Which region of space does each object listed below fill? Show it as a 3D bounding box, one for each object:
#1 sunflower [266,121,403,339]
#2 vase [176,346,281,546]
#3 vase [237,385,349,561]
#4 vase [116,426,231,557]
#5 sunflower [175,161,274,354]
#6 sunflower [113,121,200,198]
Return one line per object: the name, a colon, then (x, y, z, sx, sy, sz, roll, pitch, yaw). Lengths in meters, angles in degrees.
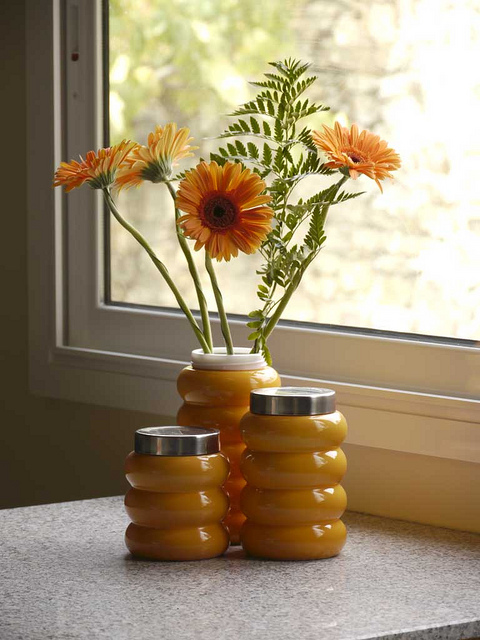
sunflower: (0.127, -0.168, 0.746, 0.097, 0.118, 0.179, 1, -3, 12)
vase: (-0.008, 0.145, 0.825, 0.109, 0.210, 0.114, -4, 9, -40)
vase: (0.054, 0.160, 0.691, 0.110, 0.174, 0.058, 1, -2, 4)
vase: (-0.058, 0.182, 0.736, 0.134, 0.124, 0.125, 1, -6, -5)
sunflower: (-0.024, -0.069, 0.718, 0.100, 0.200, 0.062, 1, 24, -6)
sunflower: (-0.093, -0.173, 0.771, 0.083, 0.090, 0.065, -8, 9, -27)
